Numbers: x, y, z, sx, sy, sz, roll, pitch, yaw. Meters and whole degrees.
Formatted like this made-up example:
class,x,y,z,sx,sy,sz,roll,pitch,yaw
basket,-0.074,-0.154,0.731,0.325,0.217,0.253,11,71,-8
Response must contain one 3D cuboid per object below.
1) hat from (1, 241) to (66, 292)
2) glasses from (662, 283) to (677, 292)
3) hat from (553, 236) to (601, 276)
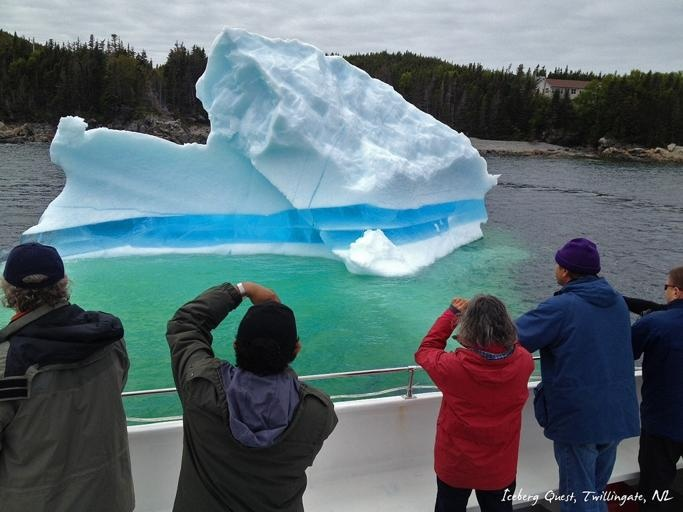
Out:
class,x,y,z,sx,sy,sz,roll,pitch,yaw
hat,-1.317,0.028,2.313,0.183,0.126,0.244,-6,19,-28
glasses,2.036,0.190,3.322,0.101,0.028,0.096,6,2,10
hat,1.406,-0.025,3.202,0.268,0.180,0.256,-12,16,-35
